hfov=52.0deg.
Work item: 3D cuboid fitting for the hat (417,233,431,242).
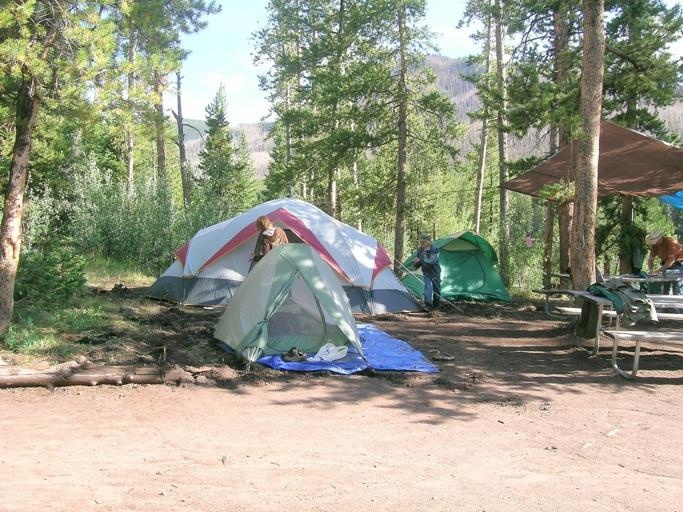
[{"bbox_3d":[2.026,-0.429,16.765,0.348,0.204,0.257,5,3,-29],"label":"hat"}]

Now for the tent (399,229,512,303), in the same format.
[{"bbox_3d":[3.232,0.311,18.721,1.981,1.442,2.183,0,0,-4],"label":"tent"}]

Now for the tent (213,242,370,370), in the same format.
[{"bbox_3d":[-1.089,0.866,12.202,2.079,1.356,2.158,0,5,-25],"label":"tent"}]
